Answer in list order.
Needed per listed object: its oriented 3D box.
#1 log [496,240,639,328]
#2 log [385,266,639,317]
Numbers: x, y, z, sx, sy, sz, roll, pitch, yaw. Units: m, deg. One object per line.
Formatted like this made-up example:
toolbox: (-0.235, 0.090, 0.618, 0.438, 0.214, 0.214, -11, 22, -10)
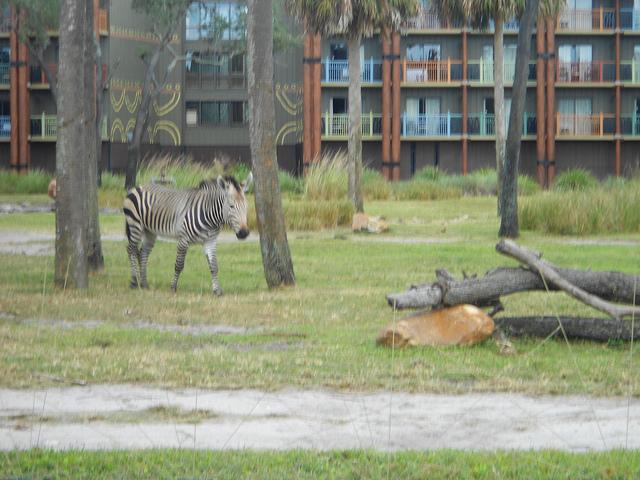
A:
log: (8.769, 1.770, 60.637, 3.283, 0.559, 0.650, 41, -21, -1)
log: (6.868, 1.954, 59.679, 6.539, 2.405, 1.240, -2, 3, -1)
